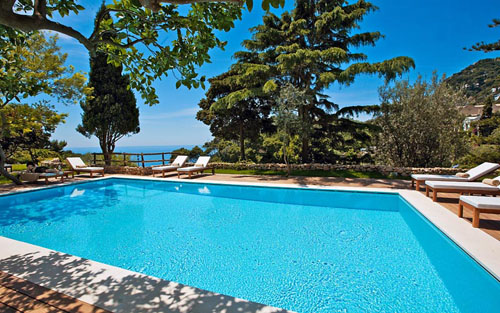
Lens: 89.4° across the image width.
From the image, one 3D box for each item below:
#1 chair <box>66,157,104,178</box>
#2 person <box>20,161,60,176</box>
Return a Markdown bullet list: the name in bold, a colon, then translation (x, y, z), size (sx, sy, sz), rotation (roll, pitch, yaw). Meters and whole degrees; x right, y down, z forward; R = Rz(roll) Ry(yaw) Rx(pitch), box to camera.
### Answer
- **chair**: translation (-12.126, 0.738, 18.756), size (2.632, 1.246, 1.574), rotation (5, 6, 15)
- **person**: translation (-13.762, 0.846, 16.906), size (1.884, 0.563, 1.216), rotation (1, -1, 15)
